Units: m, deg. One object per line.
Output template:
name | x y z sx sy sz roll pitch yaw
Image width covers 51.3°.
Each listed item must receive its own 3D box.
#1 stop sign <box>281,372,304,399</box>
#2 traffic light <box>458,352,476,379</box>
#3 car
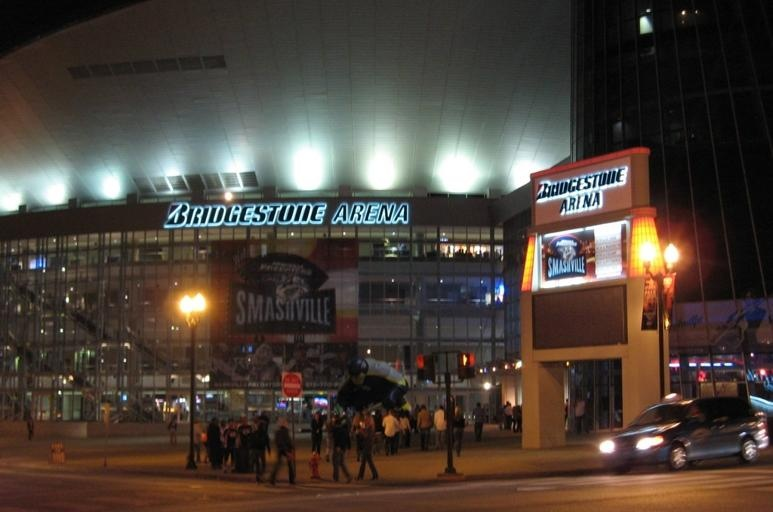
stop sign | -4.008 5.491 33.899 0.807 1.123 1.362 2 -12 -9
traffic light | 3.346 4.661 33.967 0.613 1.132 0.792 -3 -11 17
car | 12.091 7.197 32.634 6.541 2.862 1.454 4 -11 -15
